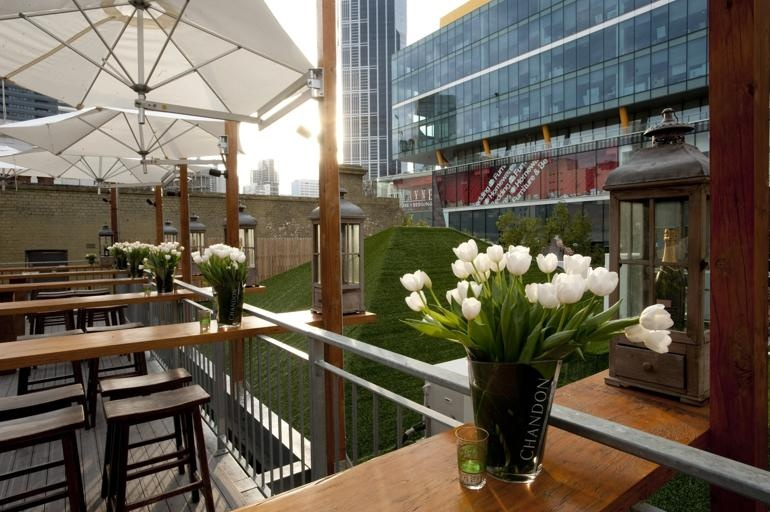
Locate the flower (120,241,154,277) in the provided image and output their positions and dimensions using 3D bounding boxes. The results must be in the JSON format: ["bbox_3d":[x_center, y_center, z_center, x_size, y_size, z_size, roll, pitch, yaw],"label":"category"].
[{"bbox_3d":[-4.001,0.065,7.887,0.588,0.643,0.569,-1,5,-42],"label":"flower"}]

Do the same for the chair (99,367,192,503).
[{"bbox_3d":[-1.837,1.518,3.905,0.697,0.985,0.516,-5,24,-41],"label":"chair"}]

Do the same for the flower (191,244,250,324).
[{"bbox_3d":[-1.323,0.256,4.290,0.490,0.687,0.533,-5,-2,-36],"label":"flower"}]

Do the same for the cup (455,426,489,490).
[{"bbox_3d":[0.410,0.927,2.255,0.147,0.255,0.093,-8,9,-36],"label":"cup"}]

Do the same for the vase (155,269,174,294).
[{"bbox_3d":[-2.683,0.314,6.006,0.249,0.291,0.254,1,-5,-9],"label":"vase"}]

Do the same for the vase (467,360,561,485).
[{"bbox_3d":[0.632,0.783,2.425,0.448,0.566,0.462,0,13,2],"label":"vase"}]

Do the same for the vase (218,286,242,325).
[{"bbox_3d":[-1.333,0.431,4.189,0.250,0.365,0.277,3,-8,-32],"label":"vase"}]

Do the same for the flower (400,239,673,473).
[{"bbox_3d":[0.781,0.495,2.520,1.141,1.048,1.091,4,-3,-28],"label":"flower"}]

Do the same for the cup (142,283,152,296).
[{"bbox_3d":[-3.130,0.445,6.471,0.142,0.183,0.146,1,-6,0],"label":"cup"}]
